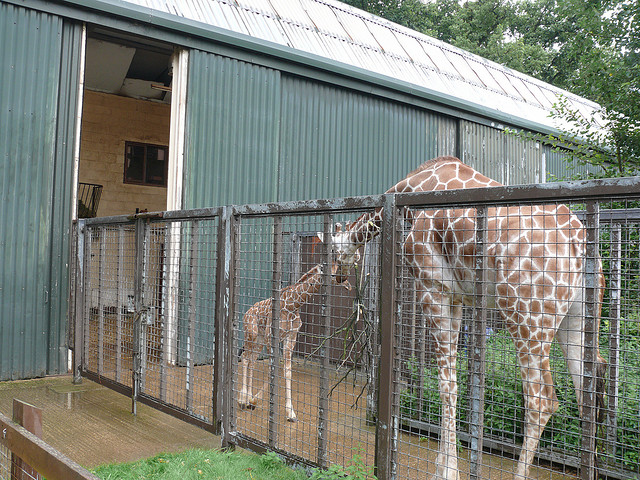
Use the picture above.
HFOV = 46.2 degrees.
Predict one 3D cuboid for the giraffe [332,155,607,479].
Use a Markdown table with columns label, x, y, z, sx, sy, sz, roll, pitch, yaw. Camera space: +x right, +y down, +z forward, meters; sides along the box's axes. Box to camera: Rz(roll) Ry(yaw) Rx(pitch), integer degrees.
| label | x | y | z | sx | sy | sz | roll | pitch | yaw |
| --- | --- | --- | --- | --- | --- | --- | --- | --- | --- |
| giraffe | 1.504 | 0.808 | 7.226 | 2.392 | 2.515 | 1.112 | 4 | -1 | 26 |
